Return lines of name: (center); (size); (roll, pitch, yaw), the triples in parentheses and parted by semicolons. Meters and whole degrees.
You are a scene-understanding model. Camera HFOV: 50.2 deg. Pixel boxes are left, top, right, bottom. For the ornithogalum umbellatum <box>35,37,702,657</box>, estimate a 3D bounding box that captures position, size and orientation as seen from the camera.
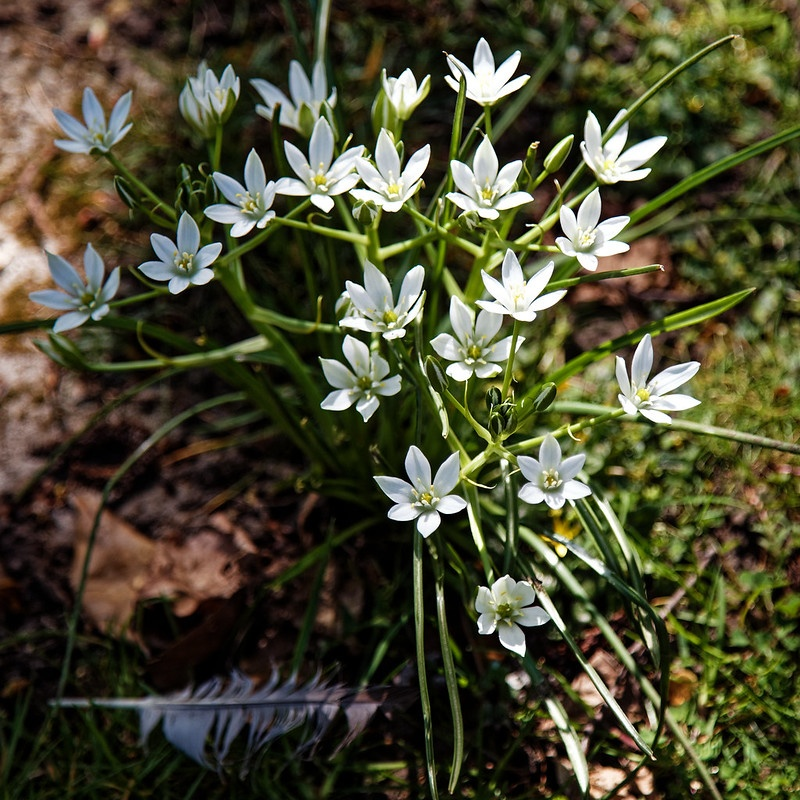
ornithogalum umbellatum: (-0.008, -0.298, 2.935); (1.752, 1.488, 1.885); (-21, 63, -24)
